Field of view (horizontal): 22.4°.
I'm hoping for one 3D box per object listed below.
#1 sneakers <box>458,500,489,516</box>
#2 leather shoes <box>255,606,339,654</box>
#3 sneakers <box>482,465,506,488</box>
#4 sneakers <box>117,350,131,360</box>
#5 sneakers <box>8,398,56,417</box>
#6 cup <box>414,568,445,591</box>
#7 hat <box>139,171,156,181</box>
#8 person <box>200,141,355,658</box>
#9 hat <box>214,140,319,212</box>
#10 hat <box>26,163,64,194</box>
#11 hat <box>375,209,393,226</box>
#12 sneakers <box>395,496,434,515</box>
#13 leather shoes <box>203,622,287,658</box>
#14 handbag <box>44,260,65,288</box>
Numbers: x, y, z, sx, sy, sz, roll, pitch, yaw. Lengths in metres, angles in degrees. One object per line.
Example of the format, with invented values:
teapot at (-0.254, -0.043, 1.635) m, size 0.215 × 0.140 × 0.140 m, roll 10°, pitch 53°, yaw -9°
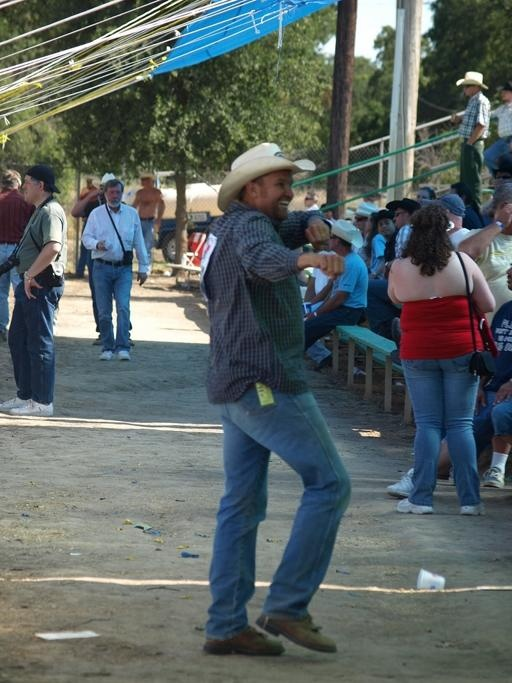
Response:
sneakers at (1.235, 0.968, 7.379) m, size 0.124 × 0.070 × 0.063 m, roll 5°, pitch -6°, yaw -10°
leather shoes at (0.175, 1.203, 5.404) m, size 0.388 × 0.162 × 0.131 m, roll 19°, pitch 2°, yaw -5°
sneakers at (1.516, 0.871, 8.225) m, size 0.129 × 0.109 × 0.278 m, roll 0°, pitch -10°, yaw 8°
sneakers at (-1.392, 0.148, 13.543) m, size 0.101 × 0.092 × 0.252 m, roll 0°, pitch 5°, yaw -7°
sneakers at (-1.746, 0.531, 10.158) m, size 0.405 × 0.144 × 0.125 m, roll 4°, pitch -3°, yaw -4°
cup at (0.810, 1.129, 6.055) m, size 0.164 × 0.097 × 0.094 m, roll 4°, pitch 23°, yaw -4°
hat at (-1.804, -2.738, 21.413) m, size 0.325 × 0.075 × 0.307 m, roll -5°, pitch 2°, yaw -34°
person at (0.081, 0.255, 5.390) m, size 0.616 × 2.149 × 0.763 m, roll 0°, pitch 9°, yaw -2°
hat at (0.020, -0.737, 5.473) m, size 0.477 × 0.161 × 0.423 m, roll -21°, pitch 0°, yaw -17°
hat at (-1.583, -1.180, 9.685) m, size 0.322 × 0.169 × 0.212 m, roll 24°, pitch 12°, yaw -20°
hat at (1.313, -1.259, 13.193) m, size 0.272 × 0.097 × 0.282 m, roll -1°, pitch 2°, yaw 5°
sneakers at (0.913, 0.952, 7.440) m, size 0.194 × 0.076 × 0.083 m, roll 6°, pitch -1°, yaw 18°
leather shoes at (-0.056, 1.236, 5.367) m, size 0.382 × 0.142 × 0.118 m, roll 0°, pitch 4°, yaw -9°
handbag at (-1.511, -0.499, 9.723) m, size 0.062 × 0.195 × 0.148 m, roll 6°, pitch 10°, yaw 30°
